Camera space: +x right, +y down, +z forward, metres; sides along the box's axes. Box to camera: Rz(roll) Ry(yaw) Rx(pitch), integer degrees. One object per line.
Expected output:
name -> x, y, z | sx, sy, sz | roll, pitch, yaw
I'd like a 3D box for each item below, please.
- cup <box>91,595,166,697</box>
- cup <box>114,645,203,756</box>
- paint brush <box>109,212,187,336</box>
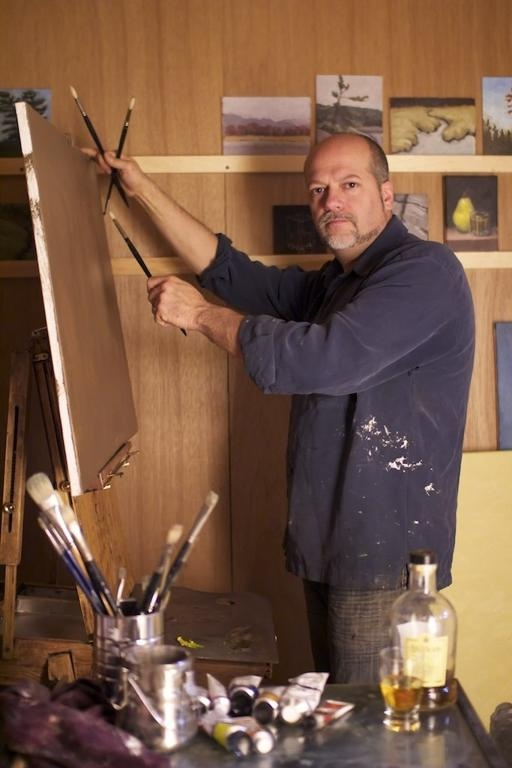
cup -> -0.198, 0.415, 1.284 | 0.107, 0.141, 0.096 | 1, 3, -6
cup -> -0.126, 0.434, 1.173 | 0.127, 0.123, 0.134 | -1, 11, 0
paint brush -> -0.293, -0.312, 2.198 | 0.068, 0.048, 0.625 | -34, 39, 1
